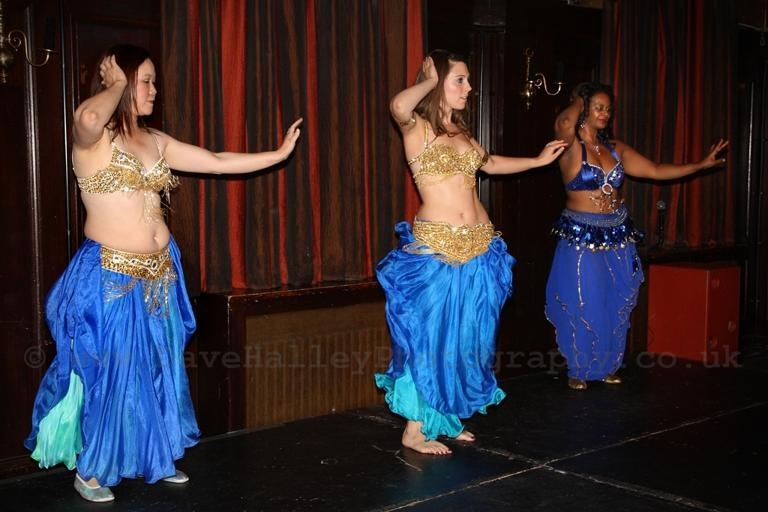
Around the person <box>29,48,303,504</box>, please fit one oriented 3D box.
[{"bbox_3d":[-1.315,0.064,3.664,1.026,2.204,0.542,-3,11,-15],"label":"person"}]

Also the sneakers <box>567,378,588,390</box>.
[{"bbox_3d":[1.340,0.899,5.077,0.053,0.071,0.155,0,-6,-12],"label":"sneakers"}]

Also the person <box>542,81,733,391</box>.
[{"bbox_3d":[1.584,-0.167,5.189,0.893,2.072,0.496,-8,13,-37],"label":"person"}]

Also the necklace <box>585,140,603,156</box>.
[{"bbox_3d":[1.463,-0.756,5.074,0.090,0.039,0.092,-16,58,-12],"label":"necklace"}]

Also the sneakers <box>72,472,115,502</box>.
[{"bbox_3d":[-1.436,1.150,3.623,0.180,0.075,0.103,13,14,36],"label":"sneakers"}]

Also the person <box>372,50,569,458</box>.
[{"bbox_3d":[0.357,-0.031,4.138,0.818,2.216,0.562,-1,10,-7],"label":"person"}]
